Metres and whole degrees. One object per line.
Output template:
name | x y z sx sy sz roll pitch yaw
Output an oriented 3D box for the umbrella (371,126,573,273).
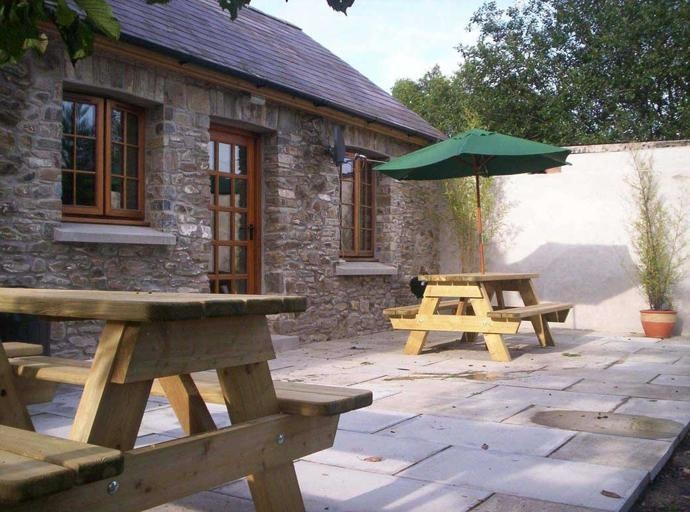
umbrella | 1.773 -0.775 6.995 2.339 1.967 1.807 -4 -1 24
